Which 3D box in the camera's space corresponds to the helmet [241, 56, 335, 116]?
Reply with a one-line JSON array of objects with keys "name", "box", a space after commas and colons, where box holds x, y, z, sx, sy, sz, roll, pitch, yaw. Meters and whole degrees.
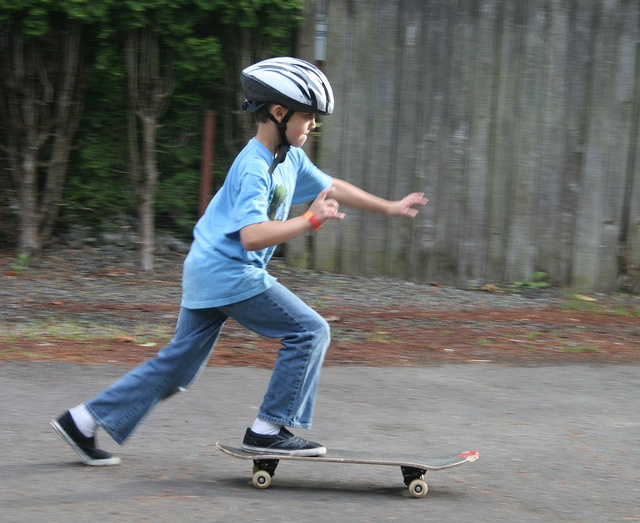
[{"name": "helmet", "box": [-0.178, -1.064, 5.127, 0.640, 0.246, 0.359, 9, 33, 12]}]

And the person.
[{"name": "person", "box": [-0.476, 0.011, 5.219, 1.446, 2.101, 0.832, 8, 2, 14]}]

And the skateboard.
[{"name": "skateboard", "box": [0.243, 1.183, 5.138, 2.141, 0.214, 0.430, 1, 0, 4]}]

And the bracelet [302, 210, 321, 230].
[{"name": "bracelet", "box": [-0.047, -0.242, 4.810, 0.108, 0.098, 0.118, 6, 1, -2]}]
